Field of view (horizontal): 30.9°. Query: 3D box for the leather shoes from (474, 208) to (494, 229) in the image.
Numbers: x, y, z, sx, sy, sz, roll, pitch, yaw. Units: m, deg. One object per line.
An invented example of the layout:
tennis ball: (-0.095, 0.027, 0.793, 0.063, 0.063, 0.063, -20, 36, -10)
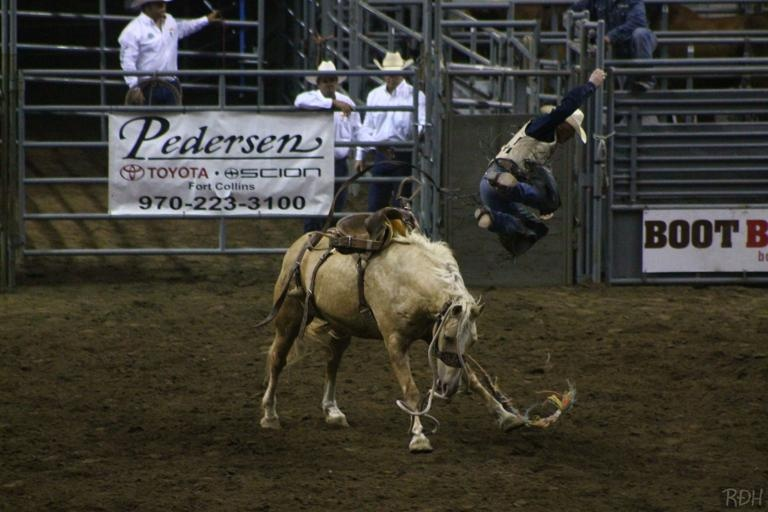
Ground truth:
leather shoes: (1.074, -0.450, 15.112, 0.100, 0.156, 0.238, 19, 37, -48)

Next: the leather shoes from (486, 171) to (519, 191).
leather shoes: (1.268, -0.815, 14.754, 0.239, 0.113, 0.171, 7, 4, 24)

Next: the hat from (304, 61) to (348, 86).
hat: (-0.848, -2.524, 18.731, 0.496, 0.193, 0.557, 0, -2, -3)

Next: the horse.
horse: (-0.049, 0.804, 14.024, 2.418, 2.093, 0.810, 6, 15, 23)

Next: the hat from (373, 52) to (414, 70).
hat: (0.110, -2.639, 18.917, 0.524, 0.174, 0.536, 0, 5, 1)

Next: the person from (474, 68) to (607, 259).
person: (1.594, -0.918, 14.960, 1.208, 1.928, 0.502, 0, 14, 2)
